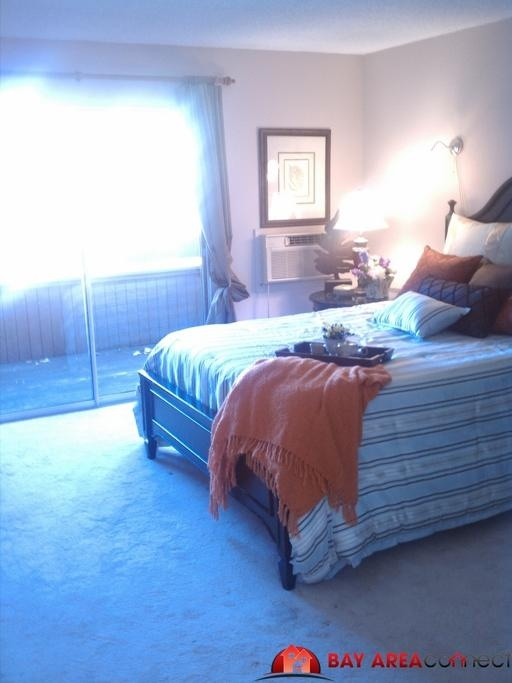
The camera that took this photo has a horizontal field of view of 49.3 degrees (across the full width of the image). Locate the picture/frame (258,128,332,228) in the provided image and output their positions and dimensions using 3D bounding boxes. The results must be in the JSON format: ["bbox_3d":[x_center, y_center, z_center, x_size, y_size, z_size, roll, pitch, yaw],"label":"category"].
[{"bbox_3d":[0.305,-1.442,4.787,0.777,0.922,0.036,-9,15,-31],"label":"picture/frame"}]

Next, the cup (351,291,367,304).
[{"bbox_3d":[0.782,-0.327,4.235,0.103,0.109,0.083,-9,17,-29],"label":"cup"}]

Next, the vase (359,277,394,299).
[{"bbox_3d":[0.908,-0.397,4.284,0.162,0.152,0.195,-7,19,-19],"label":"vase"}]

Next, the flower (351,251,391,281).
[{"bbox_3d":[0.908,-0.580,4.311,0.282,0.222,0.278,-5,12,-28],"label":"flower"}]
